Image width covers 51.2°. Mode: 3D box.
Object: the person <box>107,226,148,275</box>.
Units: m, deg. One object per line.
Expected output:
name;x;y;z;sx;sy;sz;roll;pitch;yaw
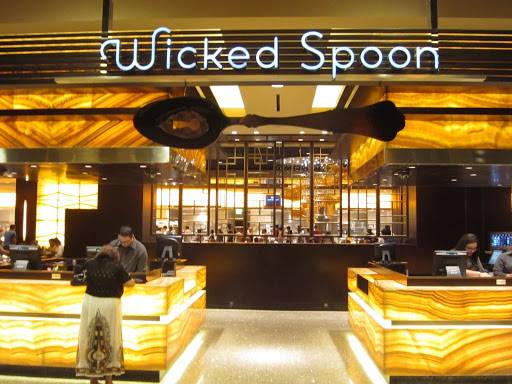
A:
person;-2.050;0.947;8.616;0.580;0.517;1.447;6;-28;-5

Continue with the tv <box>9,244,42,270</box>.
tv;-3.521;1.035;8.104;0.452;0.464;0.266;3;5;-2

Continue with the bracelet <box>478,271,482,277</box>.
bracelet;3.391;1.248;8.131;0.051;0.069;0.073;2;1;19

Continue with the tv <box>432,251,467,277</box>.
tv;2.848;1.057;7.866;0.349;0.311;0.123;3;-4;5

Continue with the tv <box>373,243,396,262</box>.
tv;2.441;1.143;10.210;0.344;0.266;0.338;1;1;10
